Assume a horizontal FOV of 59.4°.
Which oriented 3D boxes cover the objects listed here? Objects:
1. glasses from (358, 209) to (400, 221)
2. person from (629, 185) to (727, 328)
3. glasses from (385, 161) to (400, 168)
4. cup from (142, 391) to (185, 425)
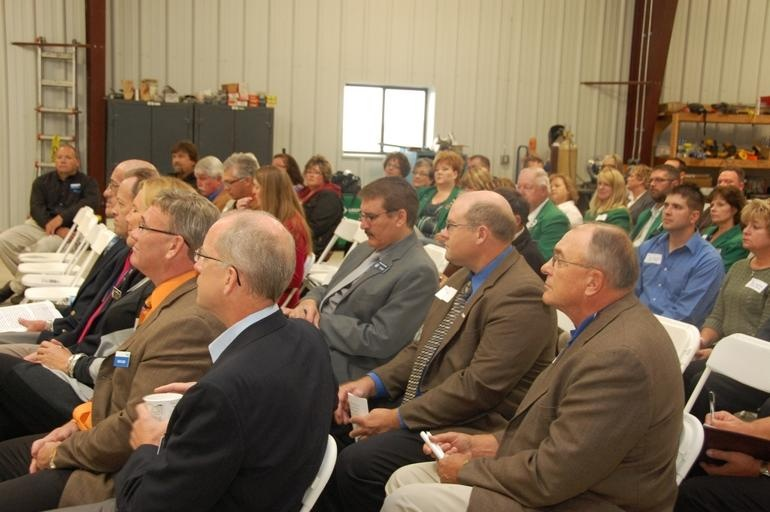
[{"bbox_3d":[-0.026,-0.273,4.467,0.149,0.055,0.121,5,1,-12],"label":"glasses"},{"bbox_3d":[2.258,0.026,5.419,0.793,1.167,0.755,-4,13,-17],"label":"person"},{"bbox_3d":[0.101,-1.209,8.978,0.094,0.049,0.118,10,5,24],"label":"glasses"},{"bbox_3d":[-1.037,0.687,3.119,0.149,0.132,0.158,0,-2,0],"label":"cup"}]
